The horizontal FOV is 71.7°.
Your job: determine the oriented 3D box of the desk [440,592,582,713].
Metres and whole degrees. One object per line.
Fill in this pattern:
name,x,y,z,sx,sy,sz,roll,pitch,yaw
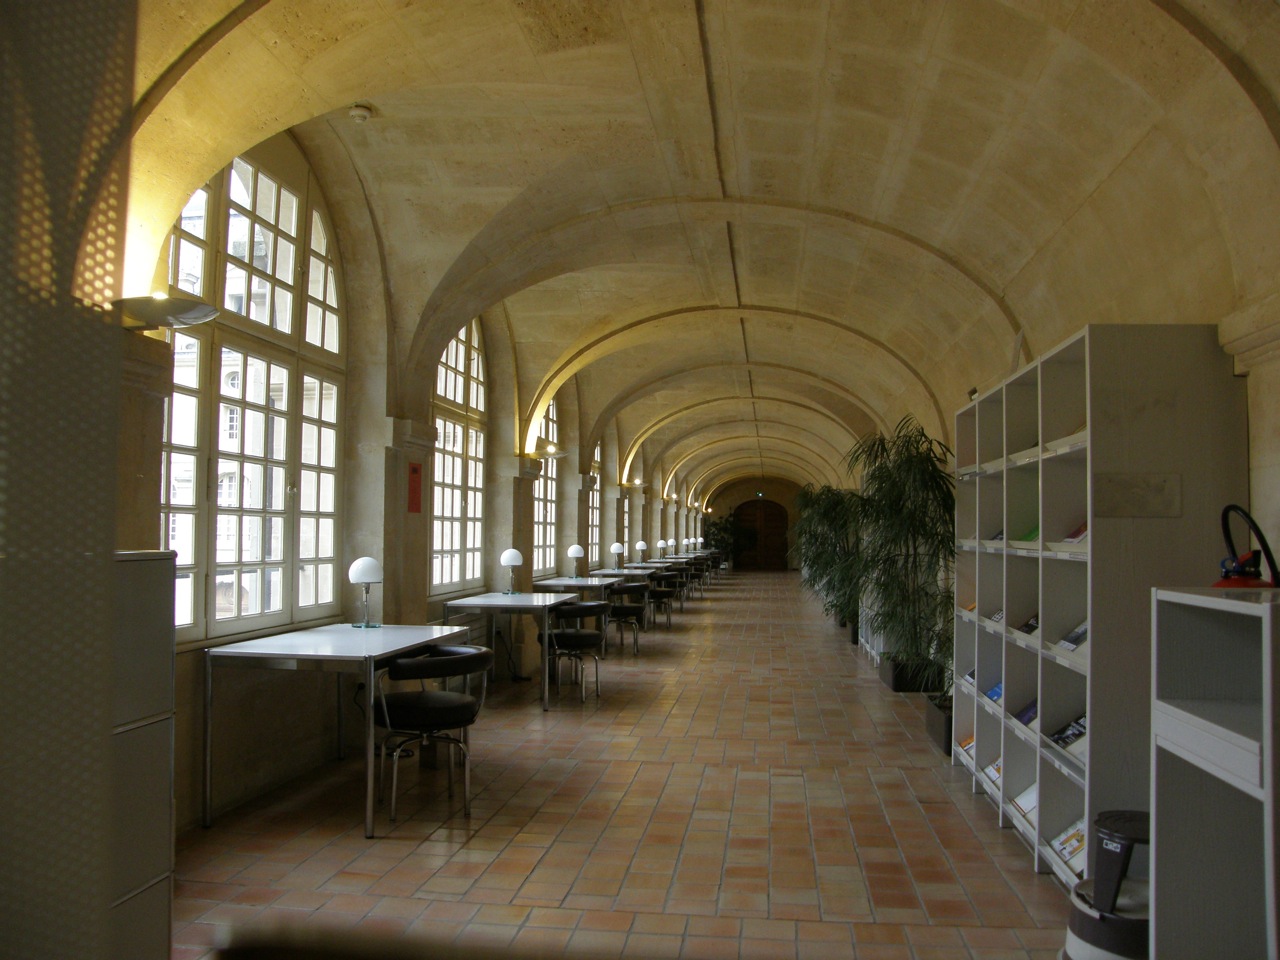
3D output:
desk,-1.214,1.663,8.560,0.854,0.824,1.641,1,-1,7

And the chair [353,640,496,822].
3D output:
chair,-1.365,1.472,5.909,0.945,1.414,1.130,1,-6,-8

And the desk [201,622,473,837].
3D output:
desk,-1.890,1.492,5.639,1.120,1.033,1.352,1,-2,8

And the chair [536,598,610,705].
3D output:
chair,-0.661,1.780,9.528,0.579,0.929,0.735,0,-9,-3
